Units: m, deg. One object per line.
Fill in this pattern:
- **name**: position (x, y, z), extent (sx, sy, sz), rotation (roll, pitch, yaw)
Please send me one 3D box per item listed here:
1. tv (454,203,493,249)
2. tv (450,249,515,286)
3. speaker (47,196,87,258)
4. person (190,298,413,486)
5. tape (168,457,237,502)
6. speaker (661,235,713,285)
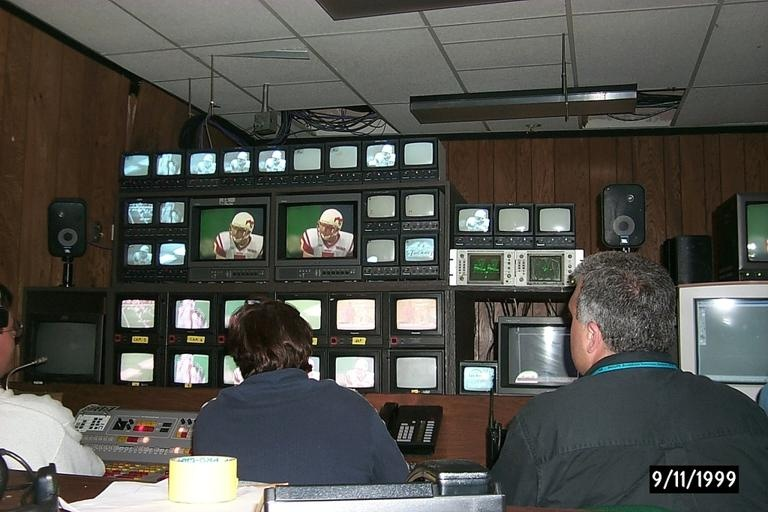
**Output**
- **tv**: position (0.642, -0.196, 4.774), extent (0.301, 0.329, 0.185), rotation (0, -15, 5)
- **tv**: position (0.685, 0.083, 4.669), extent (0.463, 0.261, 0.252), rotation (0, -9, 3)
- **speaker**: position (-2.386, -0.204, 5.065), extent (0.273, 0.462, 0.151), rotation (2, -8, -17)
- **person**: position (-0.395, 0.580, 2.905), extent (0.809, 0.790, 0.543), rotation (-4, -8, 24)
- **tape**: position (-0.529, 0.633, 1.965), extent (0.147, 0.081, 0.150), rotation (-11, -13, 43)
- **speaker**: position (2.379, 0.014, 5.312), extent (0.386, 0.440, 0.455), rotation (3, 6, 14)
